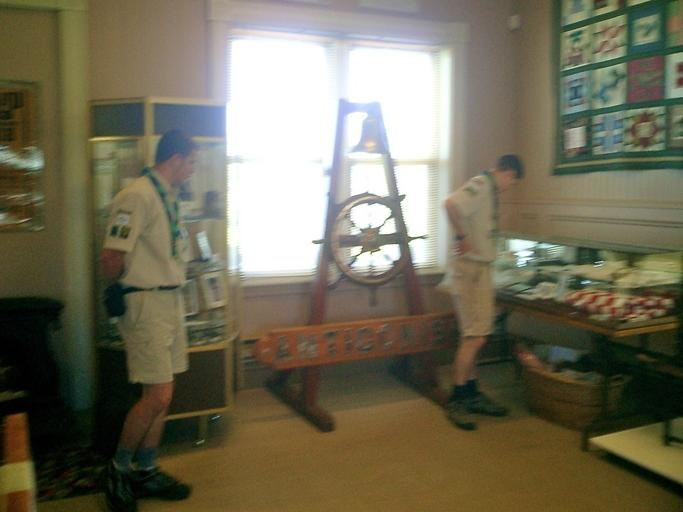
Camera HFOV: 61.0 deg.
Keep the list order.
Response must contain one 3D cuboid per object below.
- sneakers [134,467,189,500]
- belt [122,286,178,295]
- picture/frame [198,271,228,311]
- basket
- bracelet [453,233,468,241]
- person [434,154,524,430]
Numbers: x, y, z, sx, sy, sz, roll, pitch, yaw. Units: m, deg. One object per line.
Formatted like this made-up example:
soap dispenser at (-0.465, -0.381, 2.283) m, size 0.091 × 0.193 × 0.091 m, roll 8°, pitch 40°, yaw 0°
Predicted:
sneakers at (-0.490, 0.598, 1.557) m, size 0.190 × 0.078 × 0.067 m, roll 0°, pitch -1°, yaw 7°
belt at (-0.477, 0.083, 1.454) m, size 0.134 × 0.019 × 0.014 m, roll -2°, pitch 10°, yaw -7°
picture/frame at (-0.365, 0.067, 1.644) m, size 0.072 × 0.099 × 0.074 m, roll -14°, pitch 41°, yaw -15°
basket at (0.694, 0.389, 1.731) m, size 0.275 × 0.126 × 0.205 m, roll 4°, pitch -5°, yaw -29°
bracelet at (0.270, -0.041, 1.317) m, size 0.026 × 0.014 × 0.013 m, roll 4°, pitch 11°, yaw 25°
person at (0.331, 0.120, 1.394) m, size 0.167 × 0.719 × 0.474 m, roll 1°, pitch 10°, yaw 14°
